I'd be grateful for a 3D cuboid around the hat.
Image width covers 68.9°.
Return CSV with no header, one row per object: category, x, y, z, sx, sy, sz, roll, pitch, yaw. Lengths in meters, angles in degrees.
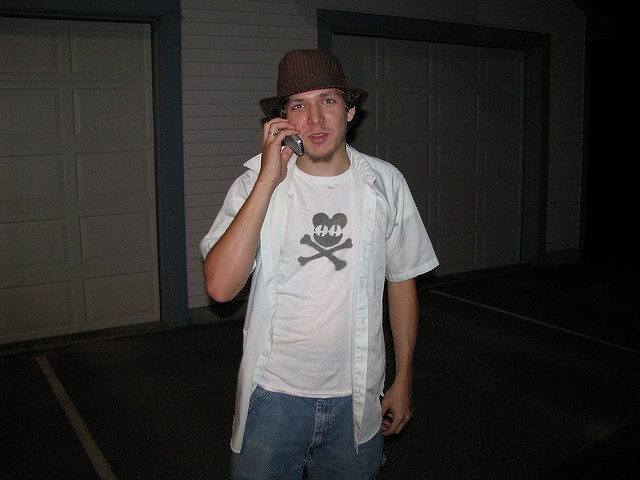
hat,-0.042,-0.877,2.589,0.602,0.314,0.617,-8,6,-1
